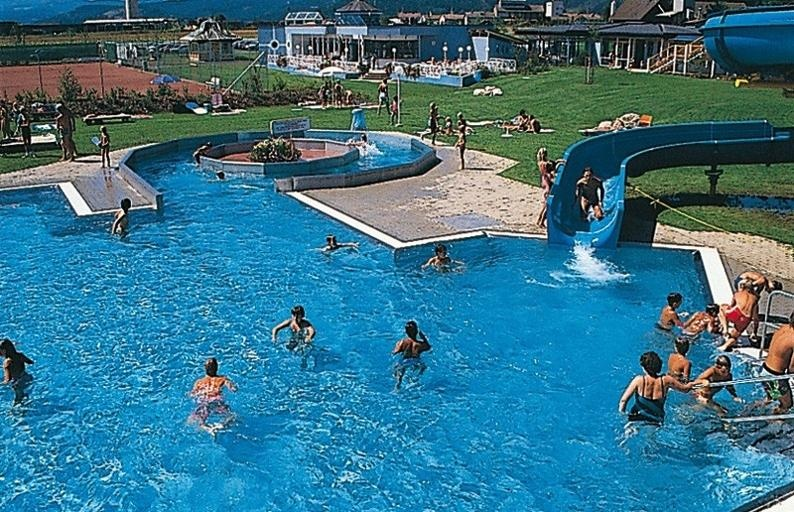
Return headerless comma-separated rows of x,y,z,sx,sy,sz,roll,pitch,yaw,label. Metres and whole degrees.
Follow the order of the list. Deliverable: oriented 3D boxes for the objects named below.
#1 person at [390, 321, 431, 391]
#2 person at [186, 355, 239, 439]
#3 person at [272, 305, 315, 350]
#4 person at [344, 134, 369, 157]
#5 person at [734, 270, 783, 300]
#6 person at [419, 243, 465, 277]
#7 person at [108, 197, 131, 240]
0.350,2.201,14.893,1.200,1.470,0.580,-15,24,-32,person
-4.000,2.995,13.440,1.014,1.497,0.709,1,20,6,person
-2.542,1.689,15.652,1.111,1.142,0.801,4,21,14,person
-1.766,-5.810,31.927,1.071,0.611,1.537,14,23,24,person
9.077,0.735,15.678,1.034,0.661,0.449,-7,1,10,person
1.402,-0.048,18.807,1.309,0.884,1.078,-2,20,-1,person
-9.301,-1.393,21.113,0.725,1.202,0.965,-10,22,-23,person
